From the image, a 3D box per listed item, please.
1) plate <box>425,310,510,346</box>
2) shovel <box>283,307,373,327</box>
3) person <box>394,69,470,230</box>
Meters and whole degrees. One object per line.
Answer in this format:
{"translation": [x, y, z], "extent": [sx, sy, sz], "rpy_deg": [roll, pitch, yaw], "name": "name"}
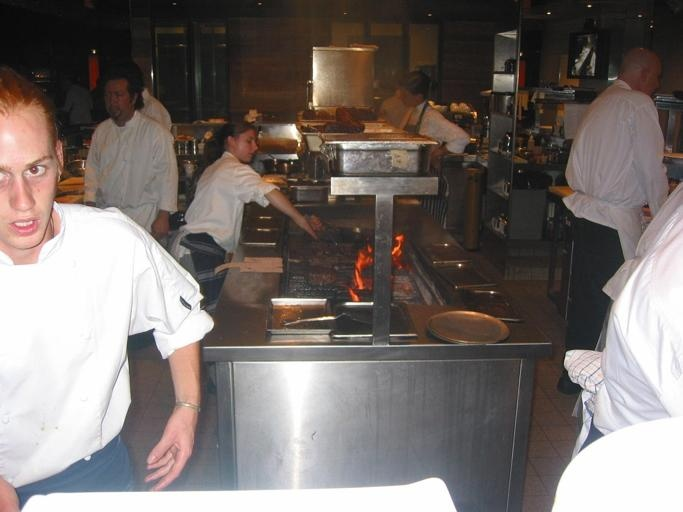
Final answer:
{"translation": [0.490, 0.276, 2.236], "extent": [0.289, 0.040, 0.285], "rpy_deg": [13, 18, 38], "name": "plate"}
{"translation": [-0.033, 0.239, 2.349], "extent": [0.385, 0.063, 0.112], "rpy_deg": [-4, 10, -12], "name": "shovel"}
{"translation": [0.902, -1.010, 5.879], "extent": [0.758, 1.650, 1.413], "rpy_deg": [3, 15, 5], "name": "person"}
